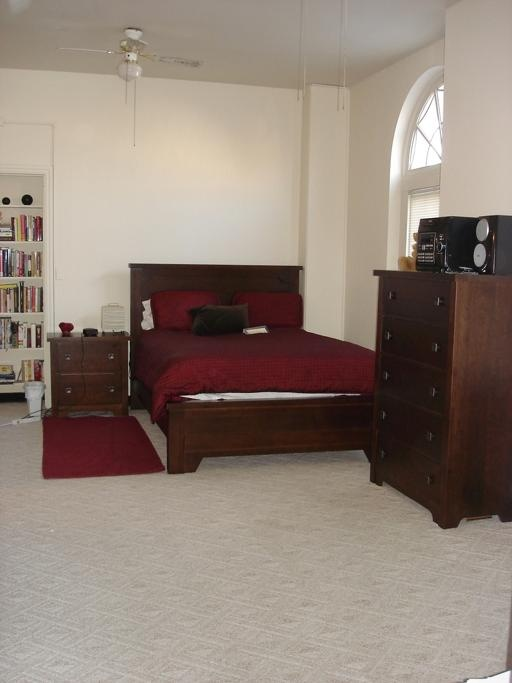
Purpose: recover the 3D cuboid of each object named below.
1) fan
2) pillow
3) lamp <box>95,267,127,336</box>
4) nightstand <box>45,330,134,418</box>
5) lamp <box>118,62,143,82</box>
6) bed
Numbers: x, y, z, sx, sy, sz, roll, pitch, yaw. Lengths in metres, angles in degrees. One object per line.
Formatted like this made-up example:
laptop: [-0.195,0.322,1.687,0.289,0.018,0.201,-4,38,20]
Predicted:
fan: [-0.910,-2.181,4.073,0.601,0.140,0.595,4,16,4]
pillow: [-0.194,-0.307,5.225,1.222,0.403,0.136,-1,-8,-17]
lamp: [-1.287,-0.386,5.104,0.277,0.593,0.454,2,3,-16]
nightstand: [-1.340,0.280,4.658,0.662,0.658,0.445,-1,-2,-4]
lamp: [-0.774,-1.664,3.396,0.127,0.120,0.191,2,3,-16]
bed: [-0.092,0.047,4.038,1.422,1.109,1.793,0,10,-13]
